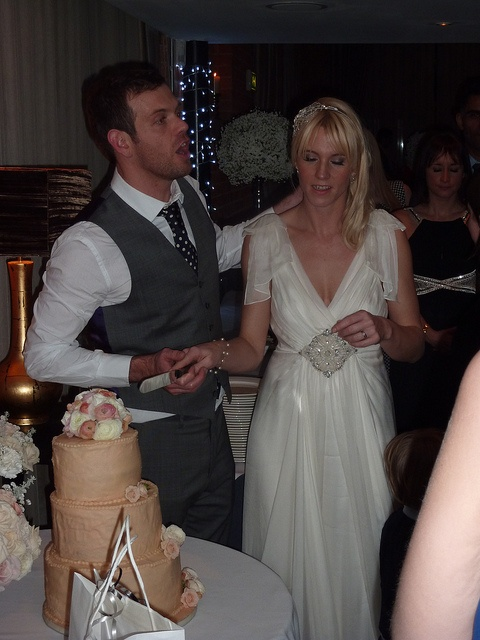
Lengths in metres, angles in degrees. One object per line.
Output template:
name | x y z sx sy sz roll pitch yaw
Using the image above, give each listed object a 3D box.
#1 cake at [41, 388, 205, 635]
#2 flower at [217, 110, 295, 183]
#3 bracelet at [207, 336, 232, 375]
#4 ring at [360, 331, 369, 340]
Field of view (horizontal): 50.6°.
cake | -0.252 0.401 1.025 0.333 0.462 0.206 5 15 10
flower | 0.108 -1.140 3.271 0.475 0.162 0.593 -5 -27 8
bracelet | -0.090 0.125 1.764 0.079 0.109 0.097 5 6 3
ring | 0.405 0.050 1.671 0.024 0.028 0.009 13 18 34
